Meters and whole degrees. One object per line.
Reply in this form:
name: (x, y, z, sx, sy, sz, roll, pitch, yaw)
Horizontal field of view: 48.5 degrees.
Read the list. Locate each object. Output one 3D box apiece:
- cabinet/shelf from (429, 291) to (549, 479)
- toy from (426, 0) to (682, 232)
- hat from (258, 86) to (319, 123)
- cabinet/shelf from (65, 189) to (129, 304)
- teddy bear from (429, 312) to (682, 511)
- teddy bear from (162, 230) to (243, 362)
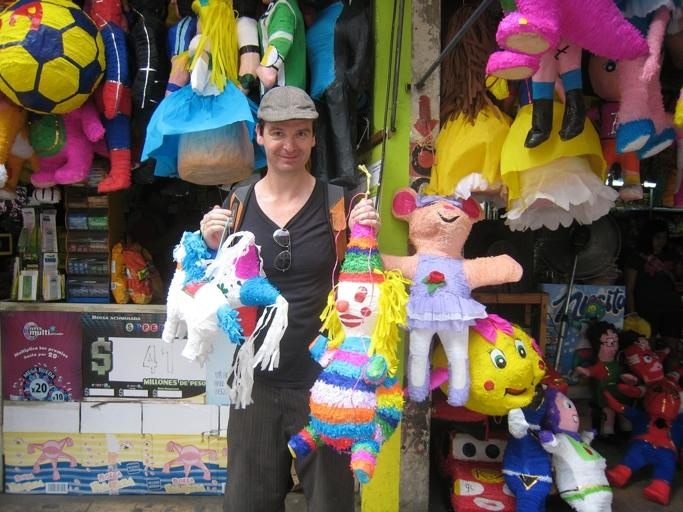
cabinet/shelf: (0.819, 0.564, 4.214, 0.510, 0.559, 0.665, -18, 18, -28)
toy: (1.061, -0.764, 3.962, 1.124, 1.232, 0.648, -6, -13, -3)
hat: (-0.255, -0.706, 3.550, 0.239, 0.133, 0.340, 0, 19, -10)
cabinet/shelf: (-1.602, -0.040, 4.794, 0.275, 0.694, 0.232, 0, -5, -23)
teddy bear: (0.857, 0.733, 3.892, 0.616, 0.469, 0.867, -2, 6, -11)
teddy bear: (-0.635, 0.184, 3.495, 0.411, 0.607, 0.248, 1, -2, 3)
